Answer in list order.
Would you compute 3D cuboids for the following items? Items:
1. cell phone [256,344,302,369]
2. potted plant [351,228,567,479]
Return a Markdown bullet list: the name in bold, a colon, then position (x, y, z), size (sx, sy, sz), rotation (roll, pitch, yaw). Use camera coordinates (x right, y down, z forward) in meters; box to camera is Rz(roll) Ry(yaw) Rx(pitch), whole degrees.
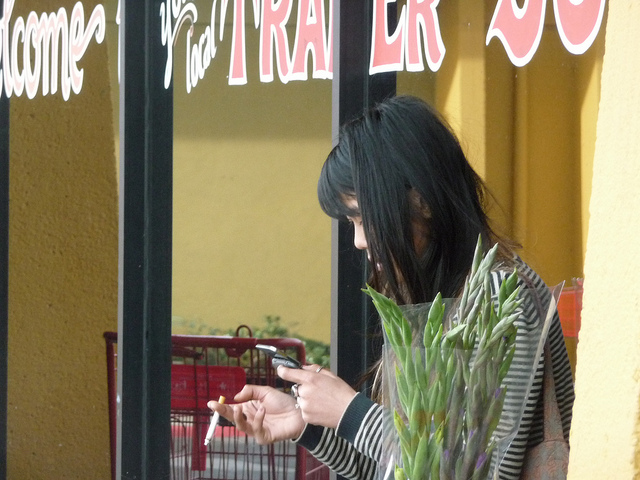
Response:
- **cell phone**: position (-0.150, 0.437, 5.541), size (0.146, 0.056, 0.050), rotation (37, 9, 4)
- **potted plant**: position (0.459, 0.422, 4.905), size (0.640, 0.992, 0.595), rotation (2, -9, 5)
